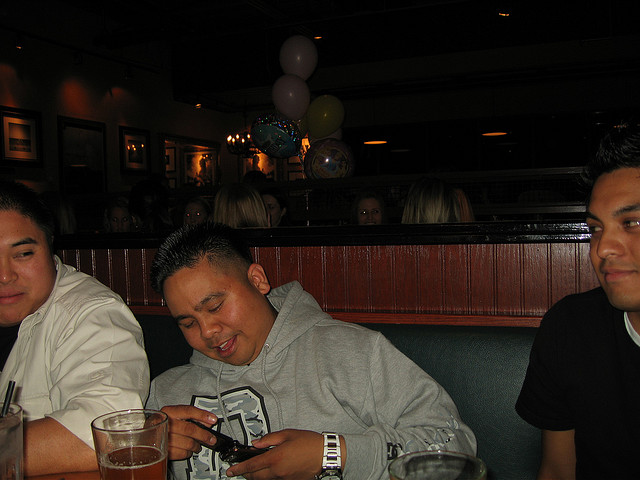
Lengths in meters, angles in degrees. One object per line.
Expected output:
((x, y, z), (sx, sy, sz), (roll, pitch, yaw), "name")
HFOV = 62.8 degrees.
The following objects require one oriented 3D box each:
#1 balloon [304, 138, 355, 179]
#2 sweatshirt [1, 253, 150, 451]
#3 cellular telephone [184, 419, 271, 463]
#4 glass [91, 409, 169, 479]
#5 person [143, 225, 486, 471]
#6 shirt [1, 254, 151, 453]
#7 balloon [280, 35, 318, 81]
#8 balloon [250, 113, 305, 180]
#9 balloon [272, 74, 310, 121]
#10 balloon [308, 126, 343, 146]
((0.141, -0.698, 4.918), (0.475, 0.468, 0.237), (8, 16, 27), "balloon")
((-0.823, 0.356, 1.887), (0.757, 0.529, 0.402), (-16, -11, 39), "sweatshirt")
((-0.261, 0.609, 1.484), (0.252, 0.099, 0.021), (-12, -24, 18), "cellular telephone")
((-0.463, 0.501, 1.265), (0.165, 0.145, 0.148), (0, -1, -24), "glass")
((-0.086, 0.320, 1.750), (0.934, 0.734, 0.722), (0, -1, -20), "person")
((-0.824, 0.364, 1.825), (0.402, 0.501, 0.726), (-1, -9, -41), "shirt")
((-0.183, -1.768, 5.071), (0.398, 0.569, 0.391), (2, -9, -3), "balloon")
((-0.422, -0.978, 5.163), (0.540, 0.571, 0.419), (0, -1, 0), "balloon")
((-0.299, -1.373, 5.035), (0.386, 0.458, 0.375), (-9, 28, -3), "balloon")
((0.087, -1.110, 5.268), (0.305, 0.173, 0.245), (-17, 6, -27), "balloon")
